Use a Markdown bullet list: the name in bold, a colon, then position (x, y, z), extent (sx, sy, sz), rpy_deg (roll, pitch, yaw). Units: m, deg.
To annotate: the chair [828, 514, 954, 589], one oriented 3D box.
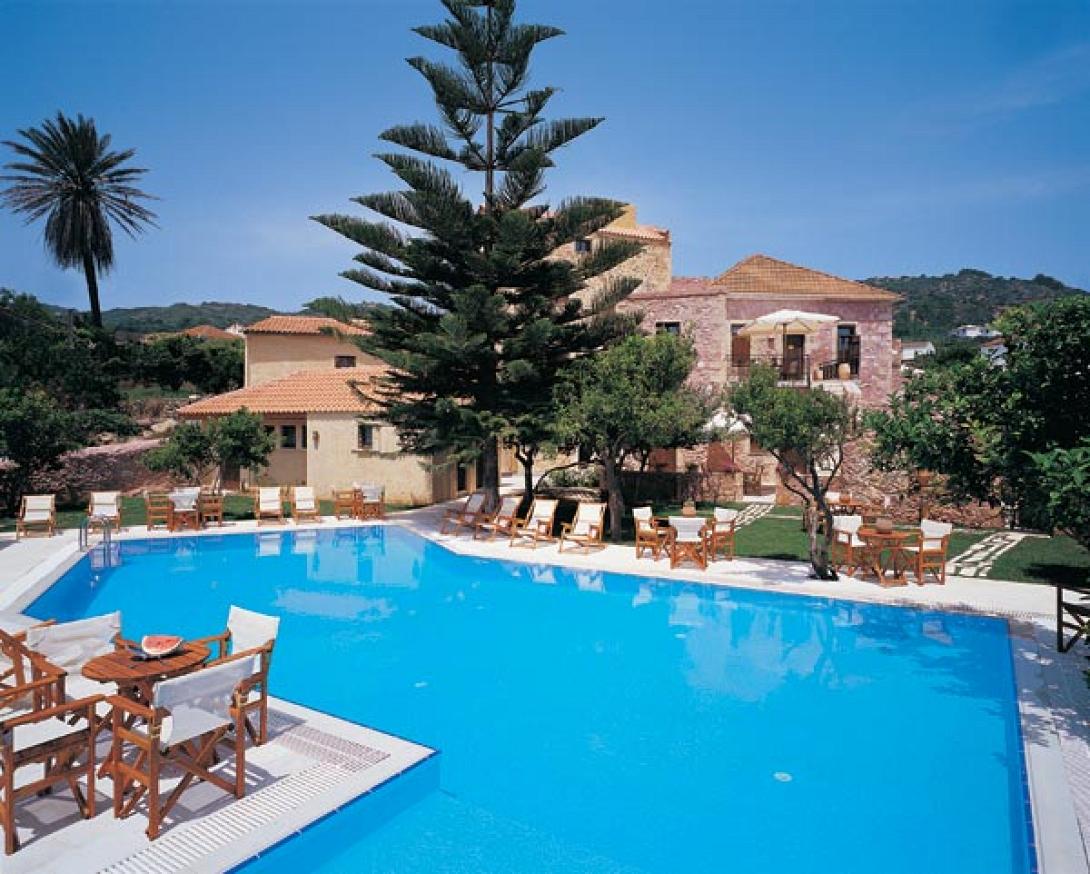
- **chair**: position (6.250, 2.017, 14.042), extent (1.868, 1.058, 1.384), rpy_deg (-1, -2, 26)
